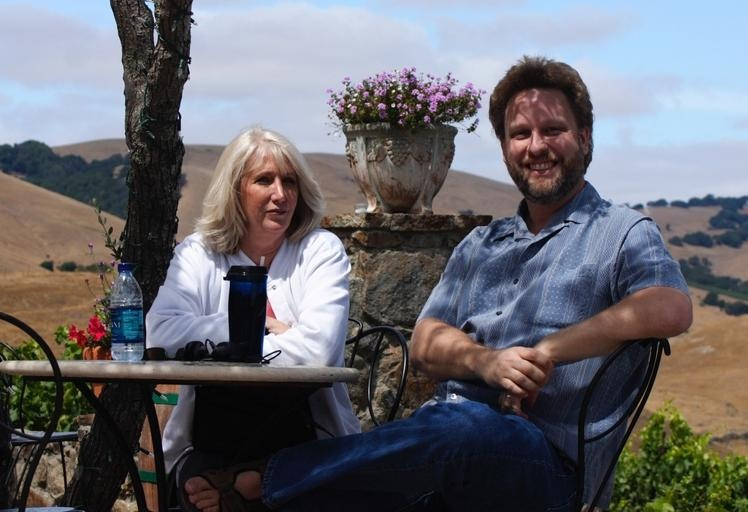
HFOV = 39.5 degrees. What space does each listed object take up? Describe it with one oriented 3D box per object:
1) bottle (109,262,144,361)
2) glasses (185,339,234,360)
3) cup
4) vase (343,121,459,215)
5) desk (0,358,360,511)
[{"bbox_3d":[-1.443,0.341,6.143,0.178,0.569,0.363,0,4,-14],"label":"bottle"},{"bbox_3d":[-0.956,0.574,6.159,0.214,0.084,0.139,-1,-9,13],"label":"glasses"},{"bbox_3d":[-0.742,0.343,6.109,0.239,0.561,0.174,1,4,-9],"label":"cup"},{"bbox_3d":[0.268,-0.694,8.967,0.935,0.771,0.978,-1,-5,8],"label":"vase"},{"bbox_3d":[-1.143,1.124,6.465,1.200,0.827,1.238,-3,-8,27],"label":"desk"}]
